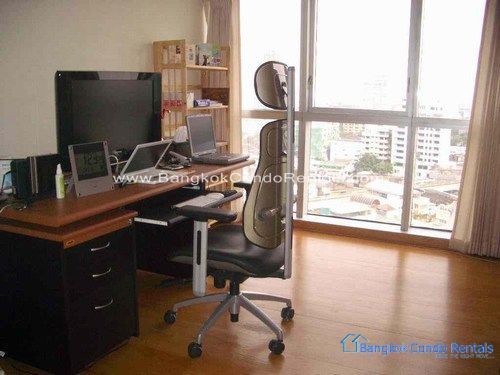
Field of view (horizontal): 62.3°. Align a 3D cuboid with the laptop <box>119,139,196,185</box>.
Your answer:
[{"bbox_3d":[-0.674,-0.190,2.929,0.311,0.251,0.427,7,13,25],"label":"laptop"}]

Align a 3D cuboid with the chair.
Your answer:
[{"bbox_3d":[-0.114,0.137,2.626,0.845,1.600,0.828,4,9,21],"label":"chair"}]

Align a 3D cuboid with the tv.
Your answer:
[{"bbox_3d":[-0.978,-0.438,2.789,0.077,0.531,0.749,6,11,29],"label":"tv"}]

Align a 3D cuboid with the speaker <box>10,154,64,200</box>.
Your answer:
[{"bbox_3d":[-1.271,-0.053,2.458,0.132,0.247,0.257,-3,3,33],"label":"speaker"}]

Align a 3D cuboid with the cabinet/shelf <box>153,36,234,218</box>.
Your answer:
[{"bbox_3d":[-0.651,-0.512,4.630,0.573,2.035,0.974,-15,24,-5],"label":"cabinet/shelf"}]

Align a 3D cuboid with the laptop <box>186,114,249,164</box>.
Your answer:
[{"bbox_3d":[-0.272,-0.433,3.645,0.484,0.388,0.562,5,12,8],"label":"laptop"}]
